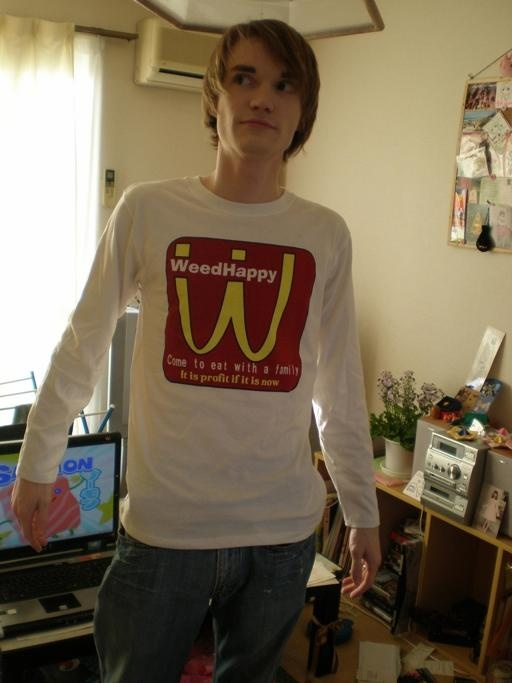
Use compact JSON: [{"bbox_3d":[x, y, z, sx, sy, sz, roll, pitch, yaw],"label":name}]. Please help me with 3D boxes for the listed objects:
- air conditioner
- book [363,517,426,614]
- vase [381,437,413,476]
[{"bbox_3d":[-0.387,-1.643,3.198,0.574,0.363,0.182,-12,36,-37],"label":"air conditioner"},{"bbox_3d":[0.579,0.896,2.194,0.118,0.360,0.250,8,3,-16],"label":"book"},{"bbox_3d":[0.575,0.466,2.310,0.143,0.136,0.141,-1,8,-19],"label":"vase"}]
